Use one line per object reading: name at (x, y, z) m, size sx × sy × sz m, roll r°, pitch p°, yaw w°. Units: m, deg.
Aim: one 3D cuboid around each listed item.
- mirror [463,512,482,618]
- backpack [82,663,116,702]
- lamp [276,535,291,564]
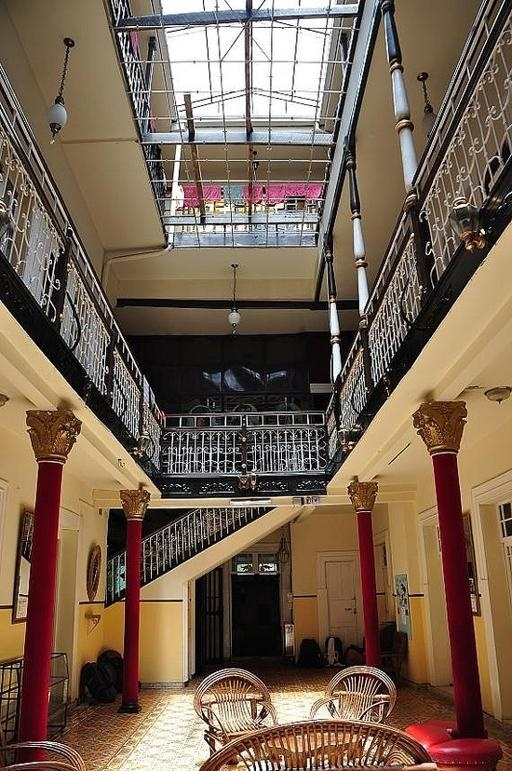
mirror at (3.325, 2.760, 7.110) m, size 0.205 × 1.502 × 0.638 m, roll -10°, pitch -19°, yaw 22°
backpack at (-2.973, 5.638, 8.659) m, size 0.616 × 0.657 × 0.448 m, roll 6°, pitch -21°, yaw -25°
lamp at (0.888, 5.290, 14.786) m, size 0.378 × 0.826 × 0.389 m, roll 2°, pitch -19°, yaw -17°
